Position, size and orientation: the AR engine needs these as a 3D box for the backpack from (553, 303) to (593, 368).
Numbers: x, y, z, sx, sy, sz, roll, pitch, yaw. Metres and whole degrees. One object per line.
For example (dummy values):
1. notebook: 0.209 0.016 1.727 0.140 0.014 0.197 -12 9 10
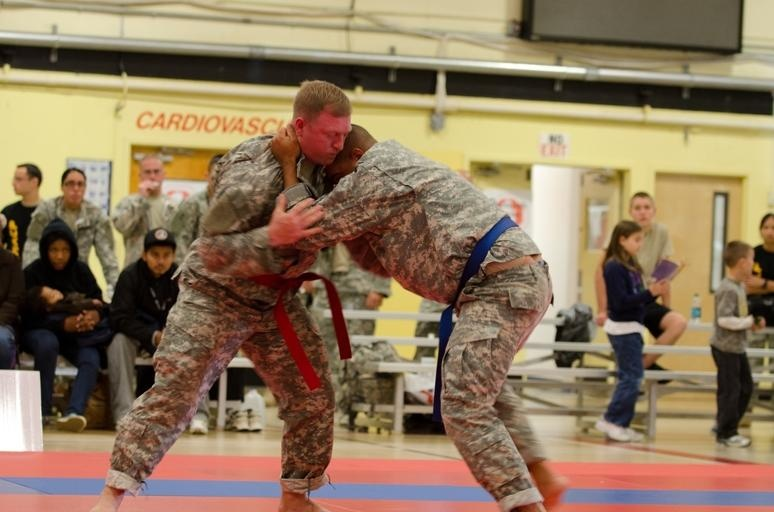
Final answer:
1. backpack: 2.018 0.868 13.558 0.466 0.660 0.272 -2 15 -45

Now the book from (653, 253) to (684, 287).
1. book: 2.710 0.134 12.429 0.382 0.265 0.088 -7 50 -41

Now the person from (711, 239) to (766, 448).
1. person: 3.454 0.849 12.575 0.430 2.026 0.446 3 -2 15

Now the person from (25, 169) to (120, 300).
1. person: -3.204 -0.201 12.760 0.972 1.228 0.795 3 16 -6

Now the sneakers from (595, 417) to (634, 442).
1. sneakers: 2.251 1.708 12.486 0.322 0.128 0.180 14 5 29

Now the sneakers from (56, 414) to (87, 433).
1. sneakers: -2.962 1.551 11.810 0.311 0.127 0.127 -3 30 6

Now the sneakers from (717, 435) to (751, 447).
1. sneakers: 3.433 1.811 12.463 0.331 0.133 0.118 -4 -2 19

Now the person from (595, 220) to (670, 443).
1. person: 2.412 0.720 12.555 0.582 2.190 0.410 3 -2 10

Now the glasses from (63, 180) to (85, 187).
1. glasses: -3.179 -0.742 12.728 0.208 0.050 0.083 4 -2 -13

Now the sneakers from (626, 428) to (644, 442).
1. sneakers: 2.486 1.756 12.571 0.154 0.082 0.436 3 -2 16
